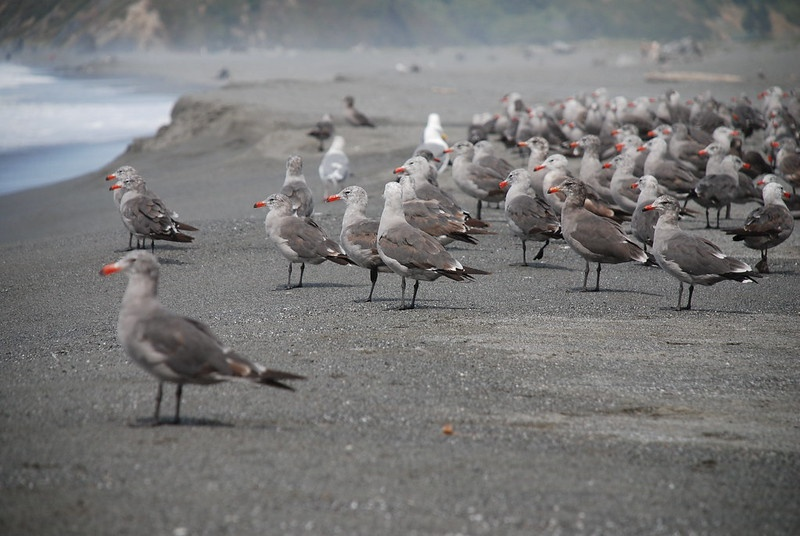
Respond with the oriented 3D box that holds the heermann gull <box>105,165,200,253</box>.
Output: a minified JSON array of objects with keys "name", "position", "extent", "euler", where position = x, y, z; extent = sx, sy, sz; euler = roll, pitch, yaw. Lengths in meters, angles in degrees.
[{"name":"heermann gull","position":[-4.059,-0.932,13.931],"extent":[1.785,1.106,0.771],"euler":[13,21,33]}]
